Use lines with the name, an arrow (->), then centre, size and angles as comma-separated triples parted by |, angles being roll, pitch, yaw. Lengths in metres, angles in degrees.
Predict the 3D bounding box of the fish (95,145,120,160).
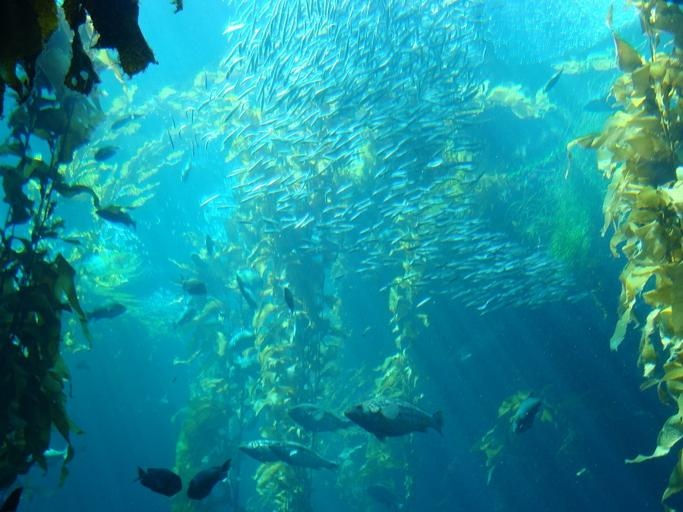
fish -> -6.347, -2.884, 19.383 | 0.431, 0.179, 0.434 | 2, -31, -39

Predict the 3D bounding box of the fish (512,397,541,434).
fish -> 5.138, 4.430, 19.959 | 1.014, 0.921, 0.371 | -18, 2, -12
